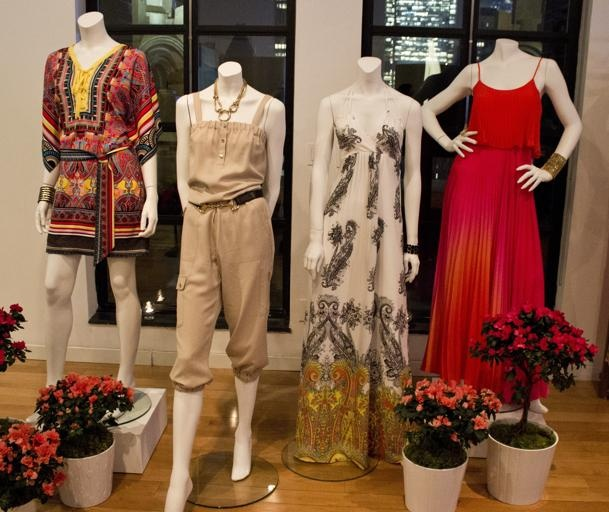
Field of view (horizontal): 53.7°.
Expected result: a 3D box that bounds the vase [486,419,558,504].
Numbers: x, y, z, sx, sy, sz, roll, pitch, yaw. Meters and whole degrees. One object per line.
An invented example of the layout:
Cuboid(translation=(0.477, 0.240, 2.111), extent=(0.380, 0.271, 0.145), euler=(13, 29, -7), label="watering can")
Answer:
Cuboid(translation=(0.956, 0.900, 2.762), extent=(0.334, 0.302, 0.310), euler=(-1, 8, -22), label="vase")

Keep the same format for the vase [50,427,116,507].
Cuboid(translation=(-0.977, 0.939, 2.654), extent=(0.235, 0.246, 0.291), euler=(1, -1, -7), label="vase")

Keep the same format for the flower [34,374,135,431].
Cuboid(translation=(-0.987, 0.581, 2.595), extent=(0.303, 0.210, 0.268), euler=(-16, 29, -39), label="flower")

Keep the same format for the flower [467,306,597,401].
Cuboid(translation=(1.013, 0.372, 2.773), extent=(0.470, 0.486, 0.467), euler=(-2, 26, 1), label="flower")
